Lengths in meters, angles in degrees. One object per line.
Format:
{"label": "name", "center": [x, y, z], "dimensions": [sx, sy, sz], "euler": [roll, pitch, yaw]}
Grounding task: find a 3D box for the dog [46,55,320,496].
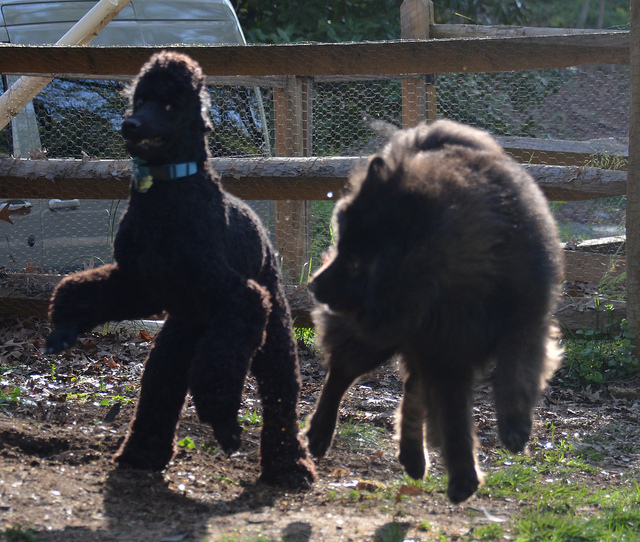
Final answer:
{"label": "dog", "center": [-0.766, 0.130, 6.580], "dimensions": [1.615, 2.453, 0.840], "euler": [2, 13, -4]}
